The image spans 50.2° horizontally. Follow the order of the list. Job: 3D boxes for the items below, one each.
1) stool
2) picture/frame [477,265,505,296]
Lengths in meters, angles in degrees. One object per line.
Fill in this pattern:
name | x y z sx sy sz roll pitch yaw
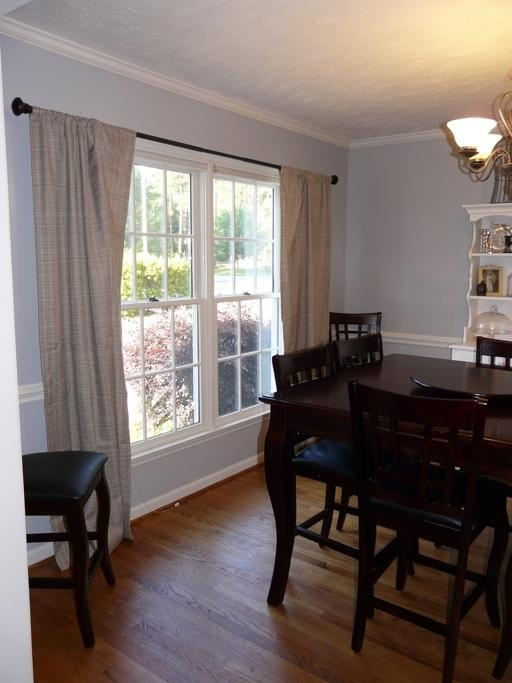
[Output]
stool | -0.769 0.733 2.068 0.419 0.614 0.442 2 2 -3
picture/frame | 1.649 -0.427 3.839 0.197 0.284 0.022 8 11 43
